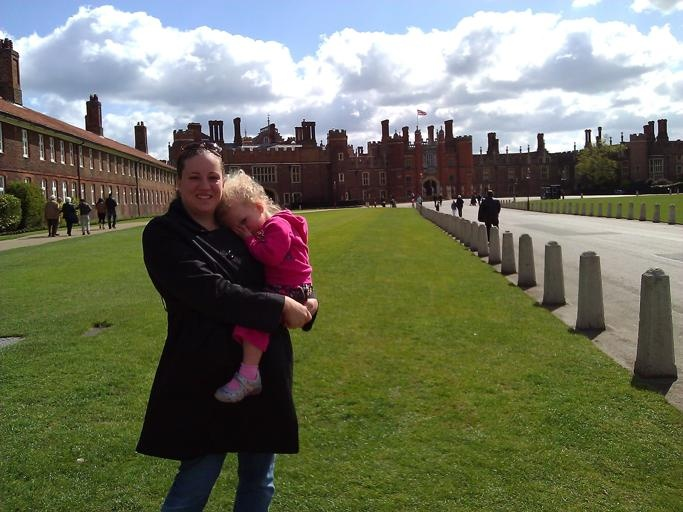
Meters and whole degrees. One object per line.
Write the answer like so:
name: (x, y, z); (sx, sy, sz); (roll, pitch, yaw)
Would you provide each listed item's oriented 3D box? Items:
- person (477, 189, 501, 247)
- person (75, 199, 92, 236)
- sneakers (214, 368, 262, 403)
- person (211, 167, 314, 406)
person: (4.792, -1.371, 18.291); (0.611, 1.435, 1.781); (1, 10, 14)
person: (-11.940, -1.796, 26.160); (0.422, 1.486, 2.205); (-5, 10, -23)
sneakers: (-0.591, 0.758, 3.289); (0.277, 0.140, 0.134); (-7, 13, -31)
person: (-0.533, 0.199, 3.713); (0.703, 1.391, 0.588); (-4, -2, -20)
